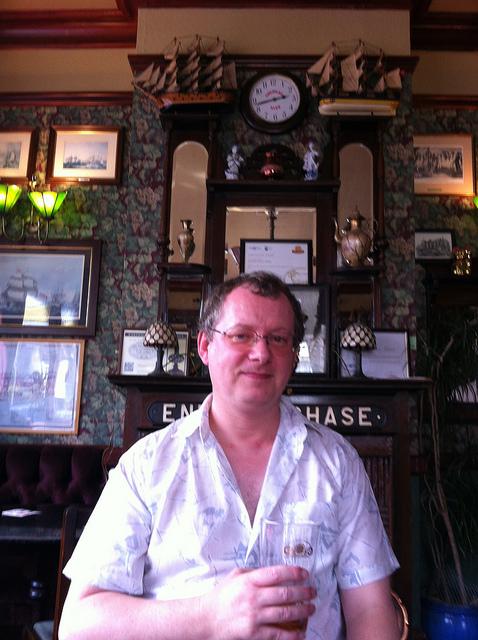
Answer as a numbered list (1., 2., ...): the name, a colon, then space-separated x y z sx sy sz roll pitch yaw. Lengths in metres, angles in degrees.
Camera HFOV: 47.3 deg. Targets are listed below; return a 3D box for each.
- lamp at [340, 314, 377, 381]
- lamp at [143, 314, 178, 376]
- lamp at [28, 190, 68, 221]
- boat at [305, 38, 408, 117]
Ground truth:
1. lamp: 0.615 0.148 2.773 0.139 0.326 0.156 6 1 -32
2. lamp: -0.390 0.141 2.715 0.165 0.437 0.186 -1 -3 34
3. lamp: -1.277 -0.780 3.689 0.151 0.200 0.197 -1 5 11
4. boat: 0.685 -1.438 3.214 0.586 0.588 0.306 1 -3 8
